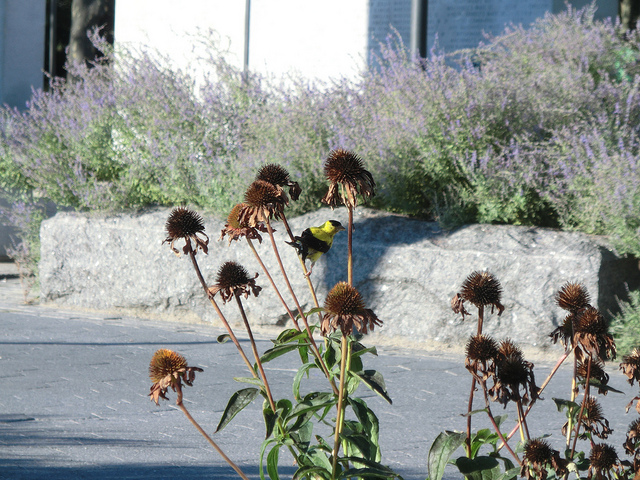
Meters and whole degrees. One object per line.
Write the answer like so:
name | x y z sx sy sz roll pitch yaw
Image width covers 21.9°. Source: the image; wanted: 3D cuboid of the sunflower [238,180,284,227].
sunflower | -0.566 -0.355 15.303 0.310 0.482 0.315 -6 8 -36

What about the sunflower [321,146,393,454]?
sunflower | 0.364 0.485 15.227 0.565 2.903 0.528 -1 8 -20

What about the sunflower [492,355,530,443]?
sunflower | 1.855 1.489 15.029 0.359 0.991 0.359 2 13 36

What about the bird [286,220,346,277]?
bird | -0.092 0.057 17.016 0.602 0.598 0.282 14 -7 -33

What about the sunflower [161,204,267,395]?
sunflower | -1.042 0.355 15.516 0.753 1.989 0.830 -1 8 -7

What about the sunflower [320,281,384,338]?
sunflower | 0.258 0.632 14.889 0.537 0.499 0.255 -1 2 4
